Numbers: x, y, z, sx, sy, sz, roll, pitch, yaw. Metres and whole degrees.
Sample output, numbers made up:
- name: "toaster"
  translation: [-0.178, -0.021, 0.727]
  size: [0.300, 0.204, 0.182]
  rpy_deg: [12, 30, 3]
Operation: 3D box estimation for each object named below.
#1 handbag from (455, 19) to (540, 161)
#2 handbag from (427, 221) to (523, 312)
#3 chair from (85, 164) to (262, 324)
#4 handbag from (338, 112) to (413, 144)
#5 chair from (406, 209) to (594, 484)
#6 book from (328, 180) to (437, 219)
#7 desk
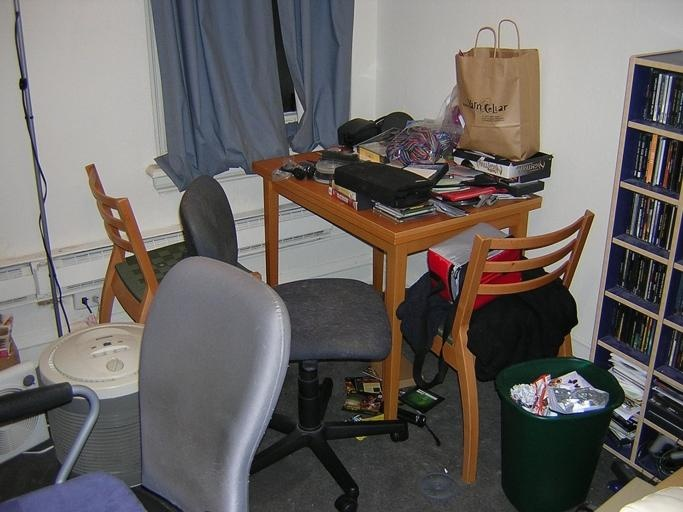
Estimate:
- name: "handbag"
  translation: [0.681, -0.691, 2.451]
  size: [0.431, 0.653, 0.236]
  rpy_deg: [19, 40, 36]
- name: "handbag"
  translation: [0.515, -0.005, 2.215]
  size: [0.373, 0.289, 0.276]
  rpy_deg: [-29, 46, -24]
- name: "chair"
  translation: [-0.730, -0.062, 2.298]
  size: [0.405, 0.630, 0.344]
  rpy_deg: [-19, 46, -26]
- name: "handbag"
  translation: [0.168, -0.663, 2.911]
  size: [0.300, 0.112, 0.188]
  rpy_deg: [-26, 31, -17]
- name: "chair"
  translation: [0.605, 0.356, 2.191]
  size: [0.517, 1.014, 0.645]
  rpy_deg: [-15, 37, -20]
- name: "book"
  translation: [0.148, -0.209, 2.314]
  size: [0.200, 0.068, 0.258]
  rpy_deg: [-19, 35, -36]
- name: "desk"
  translation: [0.271, 0.327, 3.030]
  size: [1.085, 1.174, 1.419]
  rpy_deg: [-15, 30, -30]
